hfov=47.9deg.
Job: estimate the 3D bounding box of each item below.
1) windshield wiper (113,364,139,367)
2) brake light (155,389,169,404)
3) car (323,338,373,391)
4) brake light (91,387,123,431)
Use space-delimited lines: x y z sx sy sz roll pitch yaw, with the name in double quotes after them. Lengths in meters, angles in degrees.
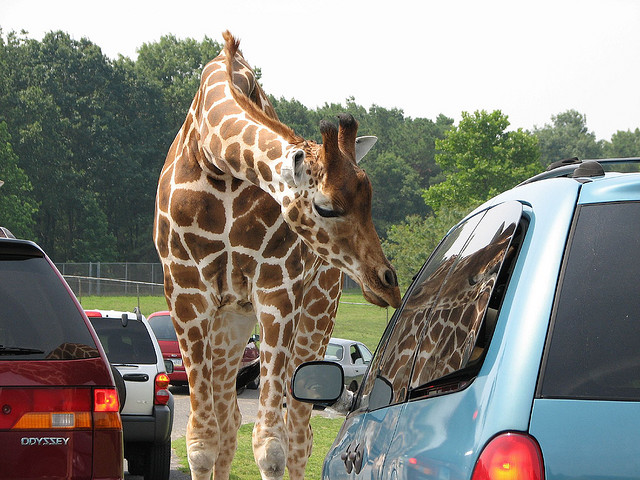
-2.227 1.432 8.272 0.284 0.034 0.055 -2 -12 5 "windshield wiper"
-1.784 1.752 8.124 0.145 0.204 0.024 -1 -1 -10 "brake light"
0.748 3.055 18.469 1.067 1.010 2.735 0 -5 20 "car"
-1.003 0.801 3.398 0.135 0.260 0.026 9 -46 -28 "brake light"
